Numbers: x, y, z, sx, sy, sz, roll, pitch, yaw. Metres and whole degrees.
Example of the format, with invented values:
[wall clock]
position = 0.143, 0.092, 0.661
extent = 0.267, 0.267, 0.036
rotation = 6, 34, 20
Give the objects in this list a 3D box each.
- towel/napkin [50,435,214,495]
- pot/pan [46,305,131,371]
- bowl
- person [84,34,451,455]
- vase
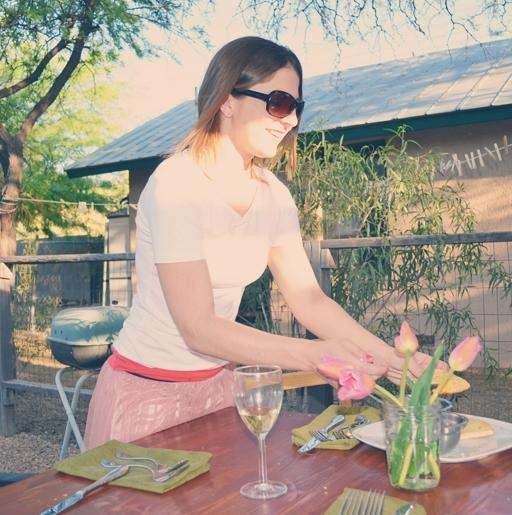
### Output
[towel/napkin]
position = -0.299, 0.460, 1.529
extent = 0.335, 0.065, 0.271
rotation = -4, -1, -30
[pot/pan]
position = -0.953, 0.433, 3.860
extent = 0.459, 0.476, 0.452
rotation = -2, 2, -42
[bowl]
position = 0.426, 0.389, 1.515
extent = 0.128, 0.147, 0.117
rotation = 3, -3, 0
[person]
position = -0.003, -0.001, 1.949
extent = 0.714, 1.423, 0.652
rotation = -1, -3, 35
[vase]
position = 0.333, 0.380, 1.376
extent = 0.081, 0.199, 0.111
rotation = 5, -6, -42
